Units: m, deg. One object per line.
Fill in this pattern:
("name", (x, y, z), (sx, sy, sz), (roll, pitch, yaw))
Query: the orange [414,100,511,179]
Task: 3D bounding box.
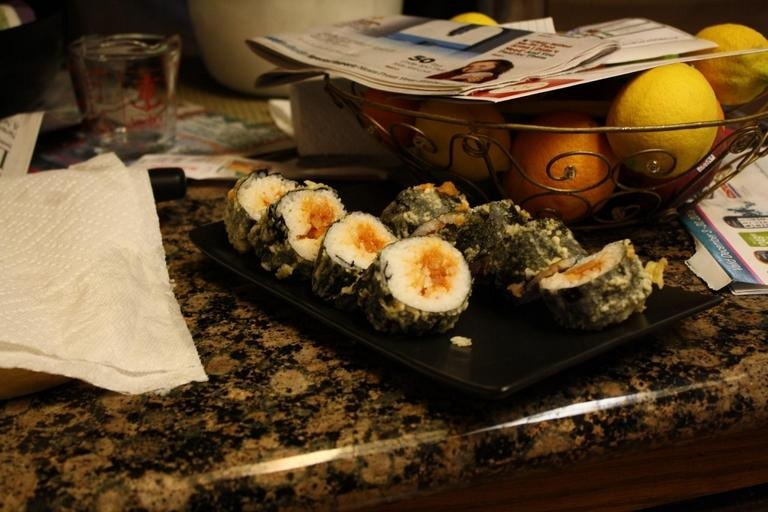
("orange", (0.112, -0.148, 0.786), (0.065, 0.085, 0.112), (-25, 28, -34))
